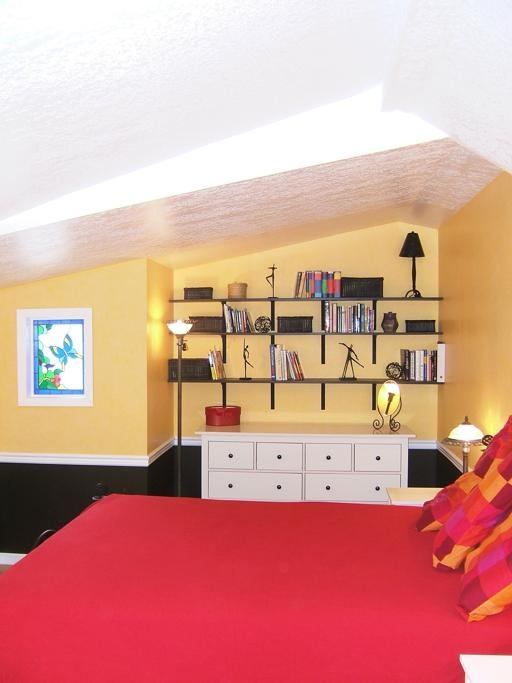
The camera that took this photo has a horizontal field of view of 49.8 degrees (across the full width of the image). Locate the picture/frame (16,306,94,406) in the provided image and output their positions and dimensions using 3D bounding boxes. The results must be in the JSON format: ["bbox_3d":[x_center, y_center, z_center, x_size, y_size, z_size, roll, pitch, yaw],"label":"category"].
[{"bbox_3d":[-1.411,0.110,3.910,0.732,0.889,0.065,0,3,3],"label":"picture/frame"}]

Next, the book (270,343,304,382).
[{"bbox_3d":[0.227,0.179,4.273,0.269,0.273,0.148,0,4,13],"label":"book"}]

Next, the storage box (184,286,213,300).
[{"bbox_3d":[-0.453,-0.373,4.365,0.226,0.101,0.151,-1,3,-8],"label":"storage box"}]

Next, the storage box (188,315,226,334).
[{"bbox_3d":[-0.401,-0.123,4.372,0.363,0.138,0.177,2,4,39],"label":"storage box"}]

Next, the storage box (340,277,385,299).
[{"bbox_3d":[0.801,-0.395,4.178,0.313,0.162,0.107,-1,3,-7],"label":"storage box"}]

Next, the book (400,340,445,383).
[{"bbox_3d":[1.249,0.169,4.164,0.382,0.301,0.191,1,4,31],"label":"book"}]

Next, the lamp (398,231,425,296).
[{"bbox_3d":[1.193,-0.588,4.238,0.191,0.519,0.292,0,4,16],"label":"lamp"}]

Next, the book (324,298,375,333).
[{"bbox_3d":[0.702,-0.171,4.201,0.361,0.236,0.140,0,4,9],"label":"book"}]

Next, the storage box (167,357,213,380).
[{"bbox_3d":[-0.517,0.240,4.320,0.335,0.183,0.230,-1,3,-10],"label":"storage box"}]

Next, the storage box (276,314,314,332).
[{"bbox_3d":[0.297,-0.122,4.269,0.254,0.121,0.062,0,4,9],"label":"storage box"}]

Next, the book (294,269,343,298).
[{"bbox_3d":[0.453,-0.435,4.228,0.328,0.237,0.269,2,5,43],"label":"book"}]
